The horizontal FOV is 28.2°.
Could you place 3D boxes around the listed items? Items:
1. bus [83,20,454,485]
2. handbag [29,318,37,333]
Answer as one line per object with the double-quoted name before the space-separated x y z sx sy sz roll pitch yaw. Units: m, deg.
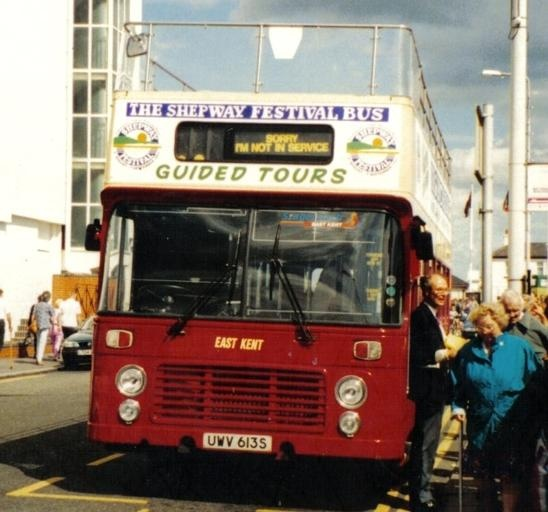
"bus" -0.166 0.082 10.406 2.568 3.220 5.095 0 -6 13
"handbag" -5.247 1.496 23.722 0.184 0.435 0.467 0 -1 -12
